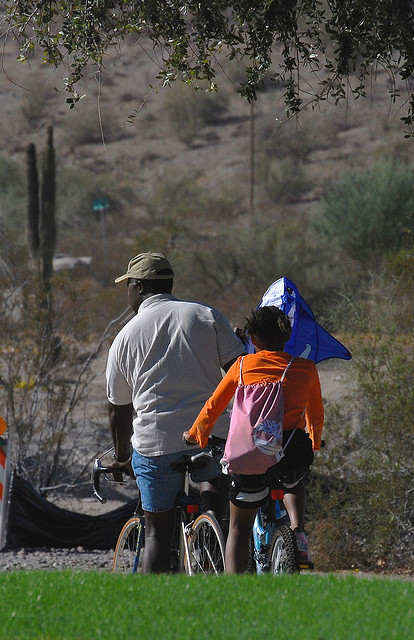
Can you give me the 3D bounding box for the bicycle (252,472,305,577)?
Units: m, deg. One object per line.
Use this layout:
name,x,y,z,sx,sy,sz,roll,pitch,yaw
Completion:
bicycle,0.315,0.984,5.050,0.233,0.309,0.486,0,0,0

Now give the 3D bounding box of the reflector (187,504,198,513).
reflector,-0.063,0.876,5.083,0.054,0.040,0.030,1,-2,-19

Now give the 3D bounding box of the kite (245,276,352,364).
kite,0.503,0.032,5.999,0.536,0.662,0.153,0,37,11

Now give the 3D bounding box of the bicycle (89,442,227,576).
bicycle,-0.236,0.916,5.202,0.291,0.532,0.767,-22,-14,30

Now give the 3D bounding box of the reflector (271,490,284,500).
reflector,0.332,0.795,4.995,0.042,0.033,0.042,1,0,-19

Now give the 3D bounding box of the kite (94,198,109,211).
kite,-2.102,-2.306,21.632,0.268,0.278,0.094,-4,-33,4

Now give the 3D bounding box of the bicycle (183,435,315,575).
bicycle,0.173,0.940,5.268,0.407,0.527,0.831,1,-4,-12

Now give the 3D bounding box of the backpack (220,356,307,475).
backpack,0.246,0.395,4.968,0.299,0.602,0.334,1,-11,21
